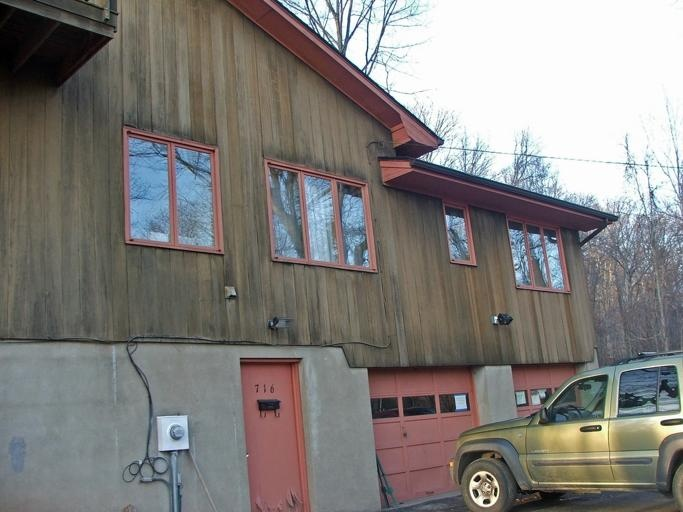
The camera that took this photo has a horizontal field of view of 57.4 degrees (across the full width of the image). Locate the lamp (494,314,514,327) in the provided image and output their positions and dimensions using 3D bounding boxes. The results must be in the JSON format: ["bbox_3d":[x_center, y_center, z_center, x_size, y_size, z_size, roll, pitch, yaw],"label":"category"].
[{"bbox_3d":[3.694,1.456,14.351,0.373,0.151,0.279,-1,6,-28],"label":"lamp"}]

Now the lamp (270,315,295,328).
[{"bbox_3d":[-1.012,1.124,10.622,0.493,0.223,0.176,5,-16,-41],"label":"lamp"}]
